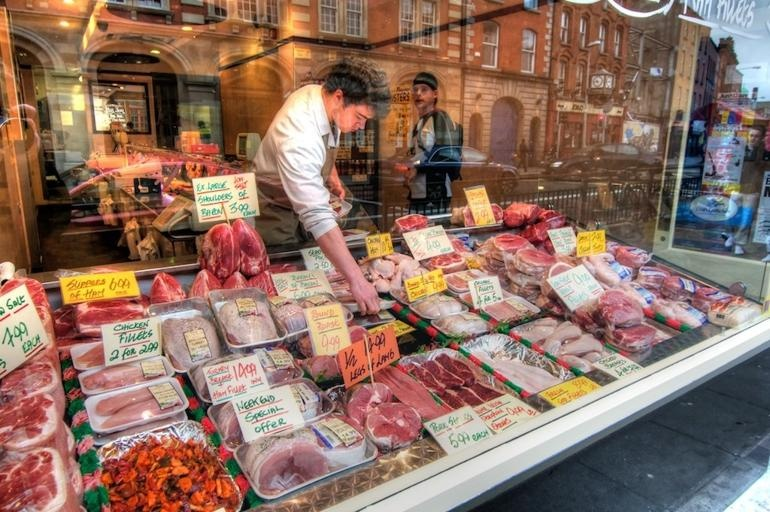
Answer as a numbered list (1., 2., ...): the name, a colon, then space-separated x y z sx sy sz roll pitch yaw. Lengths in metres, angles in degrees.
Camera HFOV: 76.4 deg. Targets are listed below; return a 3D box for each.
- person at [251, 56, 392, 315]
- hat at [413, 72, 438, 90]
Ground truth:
1. person: -0.355 -0.451 3.034 0.961 1.411 0.681 7 22 38
2. hat: 0.319 -1.342 3.753 0.198 0.140 0.126 -19 21 -35
